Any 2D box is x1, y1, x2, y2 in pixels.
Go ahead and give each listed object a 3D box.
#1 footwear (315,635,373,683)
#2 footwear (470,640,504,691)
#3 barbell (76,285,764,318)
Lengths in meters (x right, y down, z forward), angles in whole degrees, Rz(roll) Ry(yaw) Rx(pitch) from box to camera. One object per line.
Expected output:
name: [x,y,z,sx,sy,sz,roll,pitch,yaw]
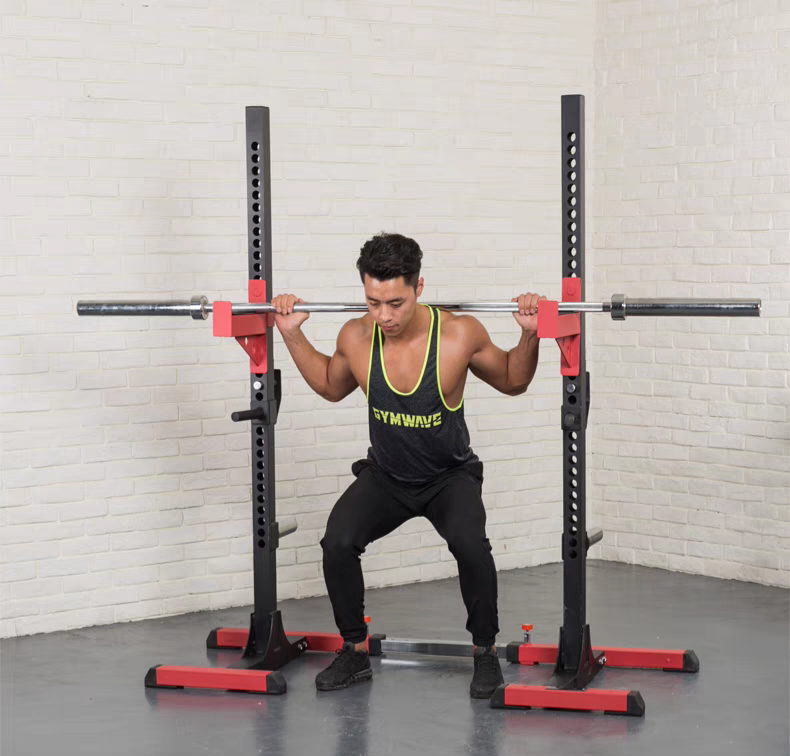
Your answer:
footwear: [-0.170,1.005,3.723,0.100,0.111,0.270,-8,-6,41]
footwear: [0.318,0.971,3.651,0.131,0.089,0.260,2,25,6]
barbell: [0.056,-0.252,3.652,2.261,0.100,0.317,0,6,11]
